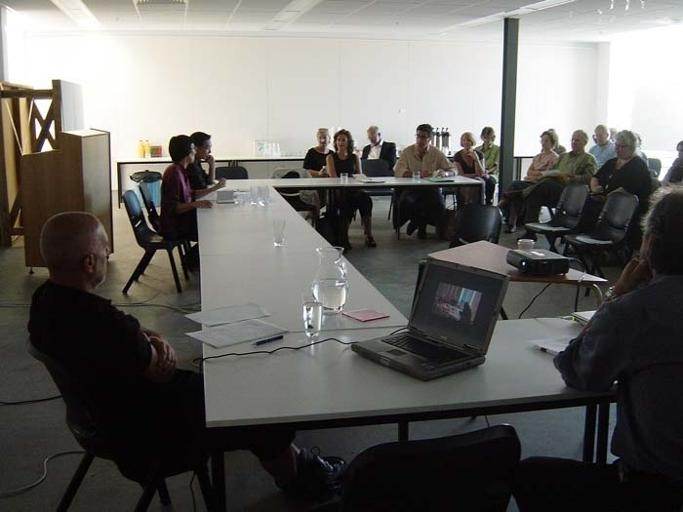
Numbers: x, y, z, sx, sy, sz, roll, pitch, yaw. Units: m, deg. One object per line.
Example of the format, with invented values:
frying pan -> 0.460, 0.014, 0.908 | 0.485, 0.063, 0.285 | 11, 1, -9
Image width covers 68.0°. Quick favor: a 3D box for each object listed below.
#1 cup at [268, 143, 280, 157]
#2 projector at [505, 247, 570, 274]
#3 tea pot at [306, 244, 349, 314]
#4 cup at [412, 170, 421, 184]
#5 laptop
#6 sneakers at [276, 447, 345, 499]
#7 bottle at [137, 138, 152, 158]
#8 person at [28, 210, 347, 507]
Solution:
cup -> -1.407, -2.197, 10.434 | 0.265, 0.283, 0.270 | 2, 17, -1
projector -> 1.178, 0.035, 3.001 | 0.199, 0.075, 0.204 | 0, 10, -13
tea pot -> -0.065, 0.106, 2.211 | 0.184, 0.265, 0.184 | 1, -2, 0
cup -> 1.026, -1.117, 6.979 | 0.121, 0.202, 0.121 | 0, 5, 0
laptop -> 0.297, 0.193, 1.769 | 0.419, 0.295, 0.417 | -4, 8, -29
sneakers -> -0.125, 0.901, 2.036 | 0.240, 0.098, 0.187 | -1, 27, -27
bottle -> -3.985, -2.164, 10.234 | 0.266, 0.305, 0.738 | -6, 16, -21
person -> -0.595, 0.150, 2.405 | 1.287, 1.627, 0.657 | -15, 15, -24
